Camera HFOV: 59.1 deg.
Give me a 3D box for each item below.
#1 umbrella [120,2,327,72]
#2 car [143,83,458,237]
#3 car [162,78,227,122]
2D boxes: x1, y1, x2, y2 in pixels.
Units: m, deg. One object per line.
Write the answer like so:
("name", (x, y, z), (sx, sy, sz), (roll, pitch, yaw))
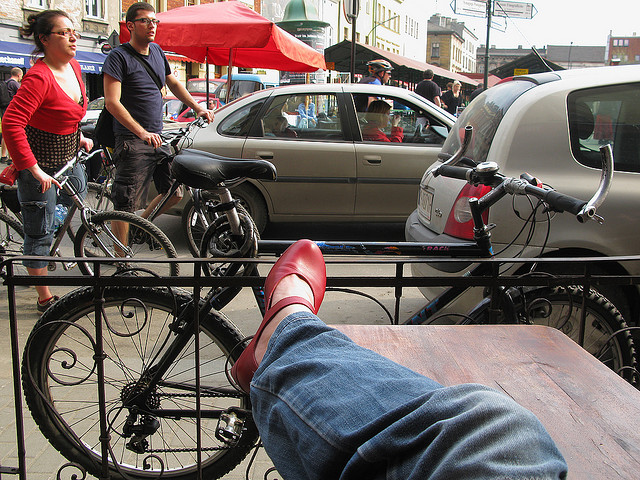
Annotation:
("umbrella", (-1.769, -3.327, 9.305), (2.542, 0.982, 2.686), (7, 17, 22))
("car", (-0.158, -0.984, 6.606), (3.435, 1.156, 1.559), (-2, 8, -5))
("car", (-4.003, -4.878, 18.120), (2.270, 1.196, 1.194), (-11, 22, -20))
